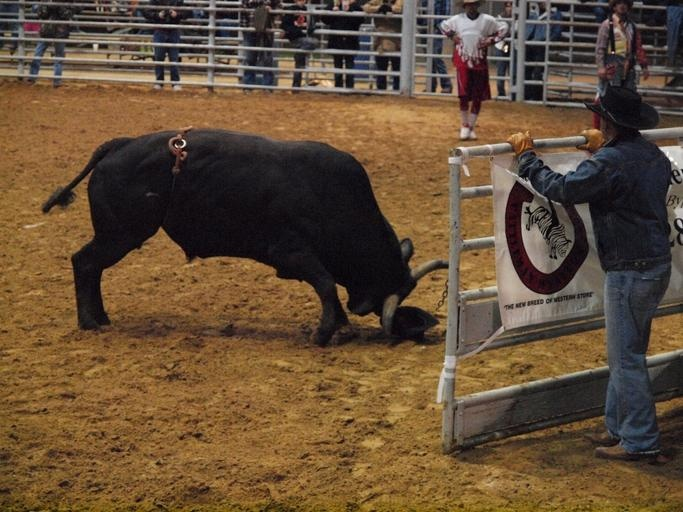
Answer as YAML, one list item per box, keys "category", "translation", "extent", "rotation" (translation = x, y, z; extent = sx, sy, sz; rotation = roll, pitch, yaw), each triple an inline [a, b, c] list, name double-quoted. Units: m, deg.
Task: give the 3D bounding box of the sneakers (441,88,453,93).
- category: "sneakers"
  translation: [2.050, -3.169, 17.723]
  extent: [0.194, 0.140, 0.141]
  rotation: [16, 17, 23]

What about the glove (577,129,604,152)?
- category: "glove"
  translation: [1.867, -0.858, 6.846]
  extent: [0.225, 0.146, 0.068]
  rotation: [-13, 40, 24]

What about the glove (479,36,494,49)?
- category: "glove"
  translation: [2.059, -2.964, 12.830]
  extent: [0.148, 0.141, 0.298]
  rotation: [6, 13, 23]

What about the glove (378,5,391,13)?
- category: "glove"
  translation: [0.763, -4.246, 15.904]
  extent: [0.214, 0.135, 0.162]
  rotation: [-3, 11, 9]

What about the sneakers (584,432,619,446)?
- category: "sneakers"
  translation: [1.952, 1.363, 6.961]
  extent: [0.266, 0.086, 0.083]
  rotation: [6, 7, 18]

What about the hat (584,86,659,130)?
- category: "hat"
  translation: [2.070, -1.055, 6.631]
  extent: [0.405, 0.157, 0.444]
  rotation: [-9, 35, -45]

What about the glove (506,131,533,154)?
- category: "glove"
  translation: [1.296, -0.821, 6.669]
  extent: [0.165, 0.158, 0.079]
  rotation: [-3, 6, 1]

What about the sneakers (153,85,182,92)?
- category: "sneakers"
  translation: [-3.041, -2.965, 16.331]
  extent: [0.450, 0.087, 0.141]
  rotation: [12, 37, 33]
